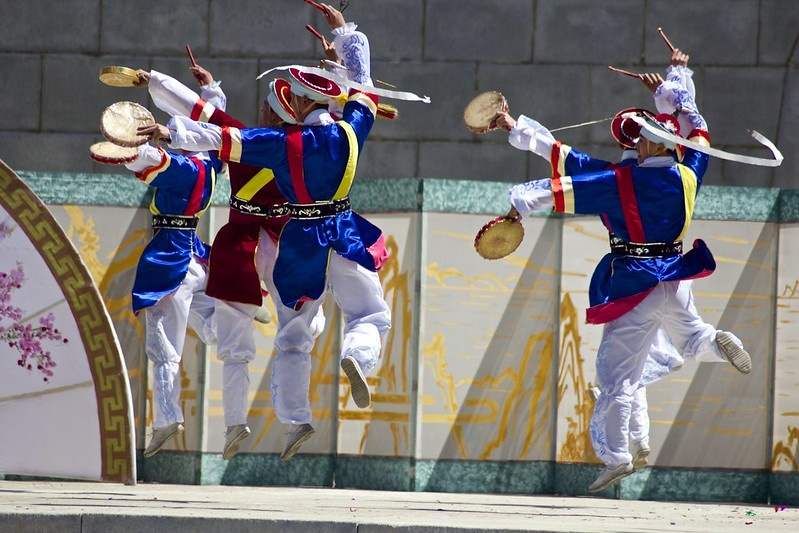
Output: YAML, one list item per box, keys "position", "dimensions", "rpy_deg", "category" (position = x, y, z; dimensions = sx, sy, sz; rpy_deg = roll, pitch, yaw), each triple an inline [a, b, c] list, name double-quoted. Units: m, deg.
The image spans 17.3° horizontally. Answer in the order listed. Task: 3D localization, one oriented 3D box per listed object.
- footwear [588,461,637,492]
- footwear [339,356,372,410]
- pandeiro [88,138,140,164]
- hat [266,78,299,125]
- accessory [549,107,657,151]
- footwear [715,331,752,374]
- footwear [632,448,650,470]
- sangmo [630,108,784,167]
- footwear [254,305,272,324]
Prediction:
- position: [1.387, 1.388, 17.340]
  dimensions: [0.343, 0.203, 0.208]
  rpy_deg: [2, -3, 24]
  category: "footwear"
- position: [-0.293, 0.729, 16.894]
  dimensions: [0.142, 0.363, 0.148]
  rpy_deg: [-27, -4, 5]
  category: "footwear"
- position: [-1.922, -0.751, 17.339]
  dimensions: [0.207, 0.045, 0.199]
  rpy_deg: [13, 20, 13]
  category: "pandeiro"
- position: [-0.796, -1.095, 17.301]
  dimensions: [0.082, 0.264, 0.273]
  rpy_deg: [-29, -3, 27]
  category: "hat"
- position: [1.476, -0.970, 17.459]
  dimensions: [0.879, 0.290, 0.332]
  rpy_deg: [-2, -18, -20]
  category: "accessory"
- position: [2.160, 0.544, 17.105]
  dimensions: [0.176, 0.307, 0.110]
  rpy_deg: [-35, -12, -17]
  category: "footwear"
- position: [1.592, 1.283, 17.367]
  dimensions: [0.088, 0.179, 0.079]
  rpy_deg: [-1, 44, -23]
  category: "footwear"
- position: [1.950, -0.812, 17.285]
  dimensions: [0.602, 0.132, 0.551]
  rpy_deg: [11, -4, -5]
  category: "sangmo"
- position: [-0.961, 0.320, 17.980]
  dimensions: [0.129, 0.110, 0.060]
  rpy_deg: [-5, 19, -10]
  category: "footwear"
